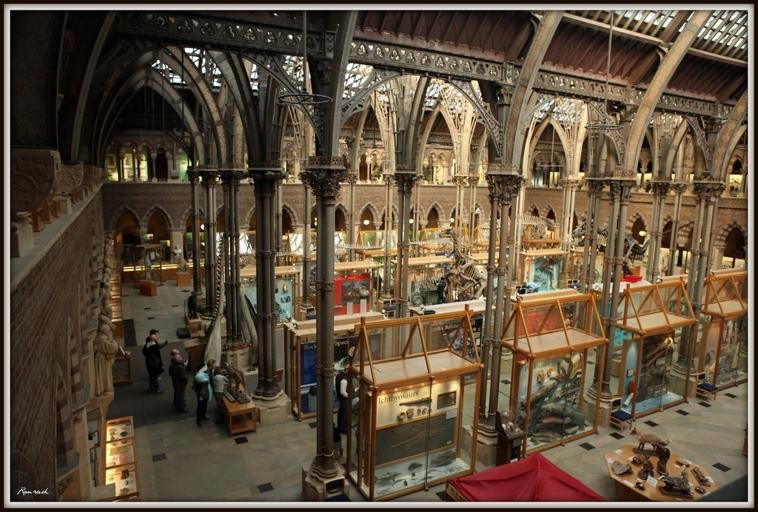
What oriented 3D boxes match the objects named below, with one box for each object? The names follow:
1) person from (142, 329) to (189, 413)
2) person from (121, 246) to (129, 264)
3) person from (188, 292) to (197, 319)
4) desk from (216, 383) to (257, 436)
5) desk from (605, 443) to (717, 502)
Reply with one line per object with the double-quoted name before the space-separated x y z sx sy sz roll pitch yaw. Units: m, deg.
"person" -6.294 3.480 14.993 1.513 1.879 0.658 17 27 37
"person" -15.496 -0.159 31.192 0.492 0.941 1.338 -7 15 -23
"person" -7.537 1.973 20.577 0.402 0.770 1.060 -6 14 -19
"desk" -3.680 4.044 13.148 0.659 0.620 1.461 -2 4 -28
"desk" 5.873 4.782 10.832 1.944 0.712 1.519 0 14 6
